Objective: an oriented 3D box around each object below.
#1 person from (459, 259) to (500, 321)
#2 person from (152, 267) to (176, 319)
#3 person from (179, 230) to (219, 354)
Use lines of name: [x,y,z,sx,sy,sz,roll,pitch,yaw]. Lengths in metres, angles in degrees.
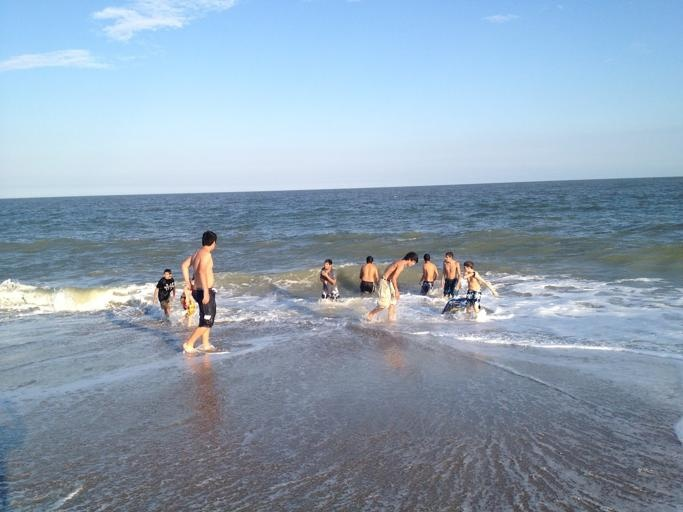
person: [3.219,0.718,12.134,0.678,1.144,1.157,3,14,14]
person: [-4.180,0.878,12.300,0.467,1.008,0.835,-6,15,-20]
person: [-2.451,0.642,8.938,0.686,2.276,1.146,-5,15,-16]
